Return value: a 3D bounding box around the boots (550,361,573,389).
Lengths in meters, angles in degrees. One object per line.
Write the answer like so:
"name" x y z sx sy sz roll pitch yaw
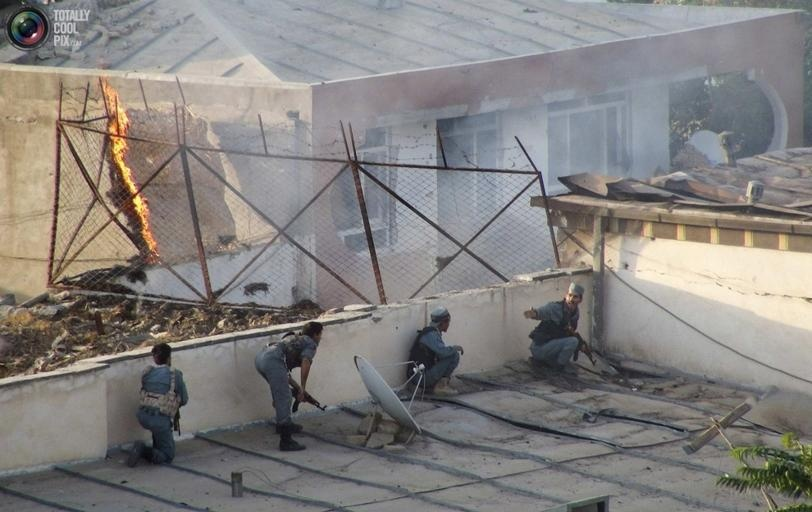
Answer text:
"boots" 3.055 2.388 30.806 0.592 0.545 0.267 -1 6 0

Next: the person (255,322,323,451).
"person" -2.107 2.412 28.892 1.038 2.282 0.877 -10 11 -35

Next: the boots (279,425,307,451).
"boots" -2.167 3.401 28.724 0.602 0.551 0.337 -2 4 -16

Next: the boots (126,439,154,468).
"boots" -4.854 3.586 28.065 0.588 0.336 0.276 -33 -13 -12

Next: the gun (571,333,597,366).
"gun" 3.589 1.868 31.074 0.456 0.679 0.349 -23 7 -20

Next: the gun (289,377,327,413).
"gun" -1.889 2.630 29.306 0.138 0.989 0.486 7 56 47

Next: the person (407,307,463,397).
"person" 0.591 1.850 30.168 1.024 1.630 0.440 -4 9 1

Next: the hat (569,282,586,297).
"hat" 3.425 0.633 30.907 0.279 0.211 0.283 10 6 -42

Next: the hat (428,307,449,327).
"hat" 0.635 1.181 30.218 0.376 0.266 0.280 -9 20 -17

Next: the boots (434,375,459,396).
"boots" 0.801 2.546 30.193 0.449 0.225 0.323 -6 25 -10
